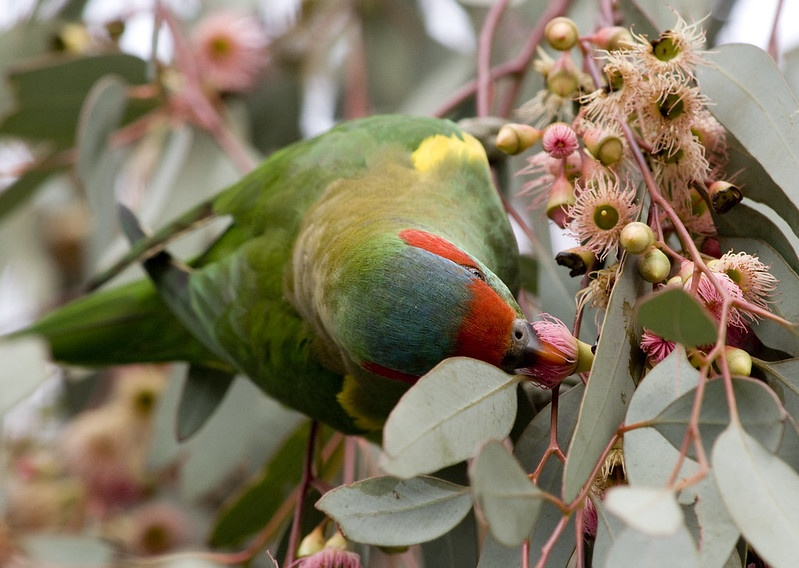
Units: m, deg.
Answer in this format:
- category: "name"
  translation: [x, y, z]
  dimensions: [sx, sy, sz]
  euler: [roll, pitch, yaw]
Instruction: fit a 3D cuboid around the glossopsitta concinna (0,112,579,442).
- category: "glossopsitta concinna"
  translation: [-0.057, 0.008, 2.087]
  dimensions: [0.840, 0.498, 0.532]
  euler: [6, 30, 18]
